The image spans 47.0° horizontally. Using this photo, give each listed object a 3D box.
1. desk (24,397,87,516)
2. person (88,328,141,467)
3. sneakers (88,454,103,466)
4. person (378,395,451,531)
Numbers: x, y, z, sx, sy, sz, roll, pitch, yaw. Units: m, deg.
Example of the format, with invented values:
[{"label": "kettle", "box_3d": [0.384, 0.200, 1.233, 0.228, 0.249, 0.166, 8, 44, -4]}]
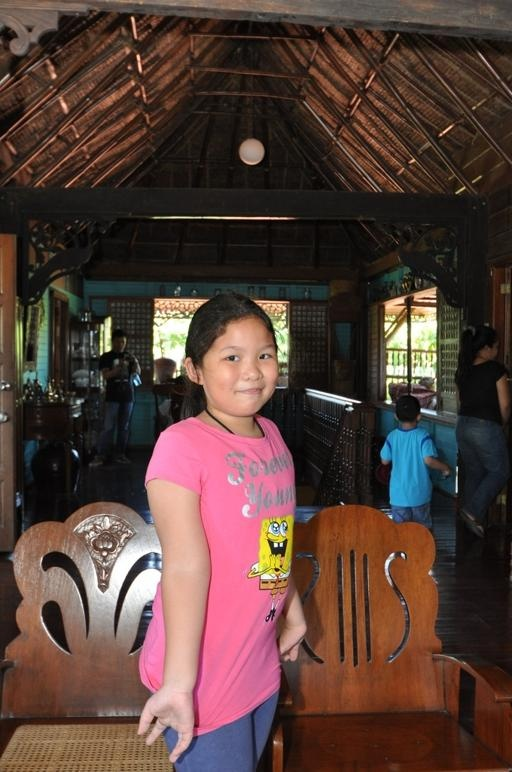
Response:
[{"label": "desk", "box_3d": [-2.005, 0.719, 5.784, 0.364, 0.920, 0.960, 0, 7, -7]}, {"label": "person", "box_3d": [-1.859, 0.178, 7.835, 0.560, 1.802, 0.885, 1, 1, -17]}, {"label": "sneakers", "box_3d": [-2.158, 1.014, 7.926, 0.106, 0.181, 0.185, -10, -26, 17]}, {"label": "person", "box_3d": [1.045, 0.613, 3.824, 0.452, 1.110, 0.374, -3, 9, 9]}]
